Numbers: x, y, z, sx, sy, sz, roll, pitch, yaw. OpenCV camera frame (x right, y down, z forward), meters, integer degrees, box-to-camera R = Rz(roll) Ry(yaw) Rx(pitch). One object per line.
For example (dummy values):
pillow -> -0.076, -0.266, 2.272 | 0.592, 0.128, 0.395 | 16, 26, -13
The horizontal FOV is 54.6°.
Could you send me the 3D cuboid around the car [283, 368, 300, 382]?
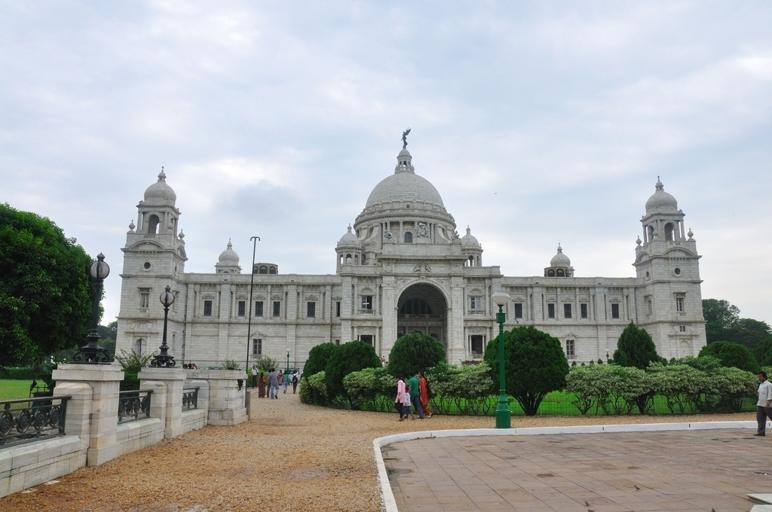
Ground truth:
car -> -8.403, 10.316, 65.883 | 2.056, 0.930, 2.755 | 2, -15, -12
